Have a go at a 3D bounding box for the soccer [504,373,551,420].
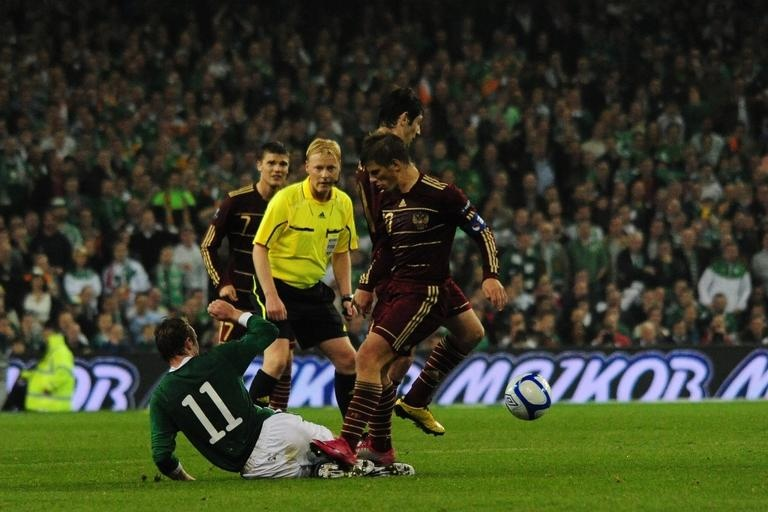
[{"bbox_3d":[1.928,1.906,17.008,0.584,0.579,0.310,1,13,3],"label":"soccer"}]
